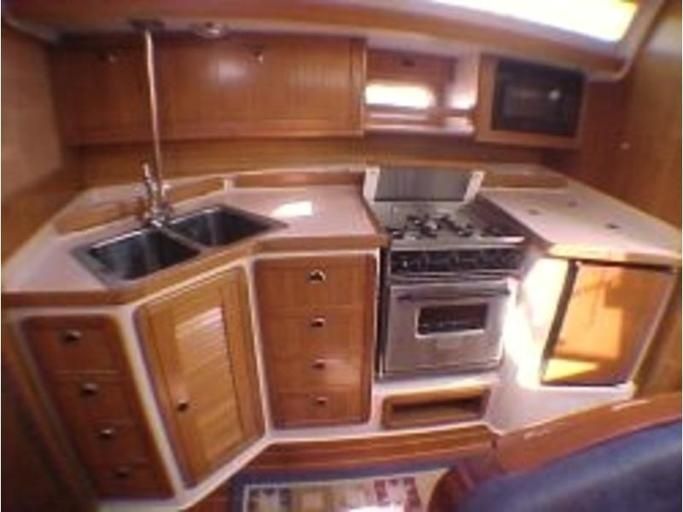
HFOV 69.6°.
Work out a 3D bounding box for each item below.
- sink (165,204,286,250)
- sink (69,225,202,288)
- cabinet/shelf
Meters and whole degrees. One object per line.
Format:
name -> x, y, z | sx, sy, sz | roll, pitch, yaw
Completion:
sink -> -0.414, -0.137, 1.710 | 0.217, 0.269, 0.100 | -24, -55, -44
sink -> -0.685, -0.037, 1.568 | 0.261, 0.216, 0.097 | -21, -50, -49
cabinet/shelf -> 0.006, 0.194, 1.692 | 1.923, 1.013, 0.734 | -9, -27, -6
